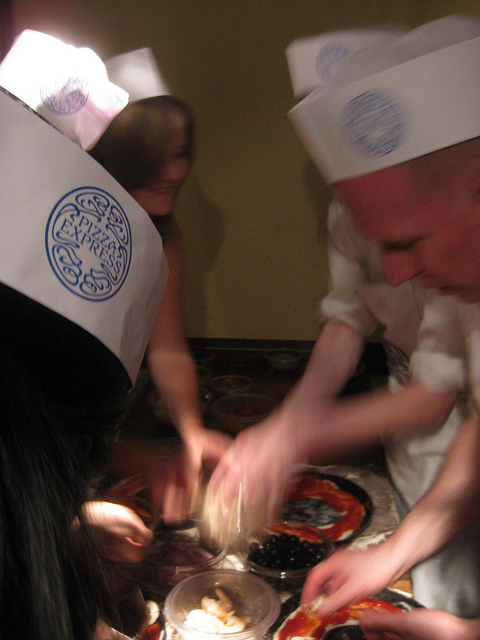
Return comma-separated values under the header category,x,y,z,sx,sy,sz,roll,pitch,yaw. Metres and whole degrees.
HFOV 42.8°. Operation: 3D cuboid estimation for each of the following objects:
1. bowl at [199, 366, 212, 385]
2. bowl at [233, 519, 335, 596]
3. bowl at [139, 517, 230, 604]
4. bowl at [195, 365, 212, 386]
category,x,y,z,sx,sy,sz,roll,pitch,yaw
bowl,-0.079,0.127,1.395,0.034,0.024,0.034,2,17,-1
bowl,0.055,0.300,0.783,0.124,0.044,0.120,-3,11,1
bowl,-0.078,0.292,0.761,0.073,0.048,0.068,2,24,-1
bowl,-0.083,0.125,1.392,0.046,0.029,0.041,2,18,-4
